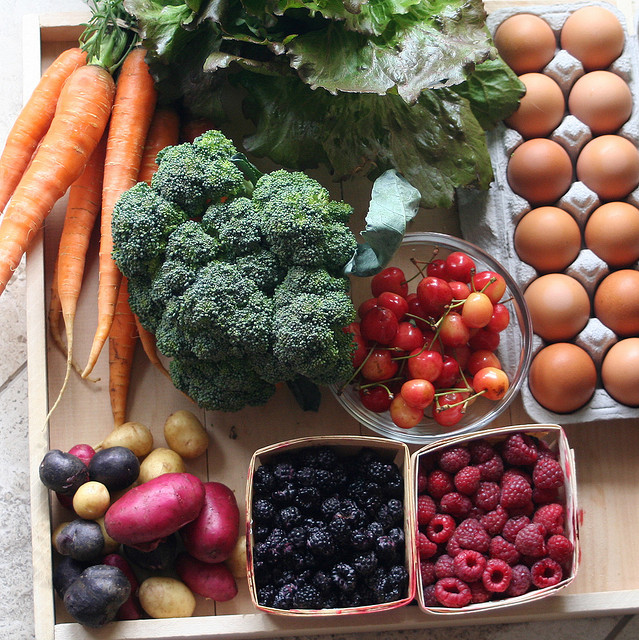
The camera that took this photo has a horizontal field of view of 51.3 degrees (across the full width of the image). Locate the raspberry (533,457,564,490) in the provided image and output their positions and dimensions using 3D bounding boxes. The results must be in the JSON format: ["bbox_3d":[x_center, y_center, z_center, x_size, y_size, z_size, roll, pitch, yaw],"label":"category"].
[{"bbox_3d":[0.433,0.294,1.296,0.063,0.060,0.055,0,74,5],"label":"raspberry"}]

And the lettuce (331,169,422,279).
[{"bbox_3d":[0.125,-0.181,1.264,0.068,0.129,0.224,30,76,19],"label":"lettuce"}]

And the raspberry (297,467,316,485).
[{"bbox_3d":[-0.025,0.306,1.298,0.033,0.021,0.034,7,19,34],"label":"raspberry"}]

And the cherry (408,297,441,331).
[{"bbox_3d":[0.209,-0.012,1.393,0.078,0.077,0.069,0,29,5],"label":"cherry"}]

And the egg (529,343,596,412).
[{"bbox_3d":[0.493,0.115,1.355,0.162,0.142,0.144,0,91,5],"label":"egg"}]

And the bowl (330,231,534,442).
[{"bbox_3d":[0.253,0.013,1.366,0.389,0.413,0.428,11,58,16],"label":"bowl"}]

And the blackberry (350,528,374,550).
[{"bbox_3d":[0.091,0.406,1.232,0.037,0.015,0.036,0,58,0],"label":"blackberry"}]

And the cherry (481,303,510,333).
[{"bbox_3d":[0.366,-0.002,1.361,0.067,0.059,0.060,-3,96,4],"label":"cherry"}]

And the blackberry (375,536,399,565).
[{"bbox_3d":[0.125,0.433,1.251,0.048,0.056,0.033,-17,37,2],"label":"blackberry"}]

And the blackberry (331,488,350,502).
[{"bbox_3d":[0.043,0.348,1.310,0.028,0.017,0.010,-9,49,-1],"label":"blackberry"}]

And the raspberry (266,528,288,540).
[{"bbox_3d":[-0.079,0.408,1.264,0.029,0.031,0.012,-6,91,-7],"label":"raspberry"}]

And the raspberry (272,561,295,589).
[{"bbox_3d":[-0.068,0.480,1.255,0.059,0.025,0.046,-6,77,22],"label":"raspberry"}]

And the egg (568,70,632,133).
[{"bbox_3d":[0.605,-0.476,1.438,0.127,0.097,0.134,7,56,13],"label":"egg"}]

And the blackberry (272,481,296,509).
[{"bbox_3d":[-0.066,0.338,1.289,0.048,0.022,0.047,1,85,4],"label":"blackberry"}]

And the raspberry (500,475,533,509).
[{"bbox_3d":[0.381,0.337,1.292,0.061,0.064,0.048,1,80,5],"label":"raspberry"}]

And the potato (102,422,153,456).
[{"bbox_3d":[-0.390,0.246,1.389,0.101,0.058,0.063,-9,24,-3],"label":"potato"}]

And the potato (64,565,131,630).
[{"bbox_3d":[-0.415,0.514,1.240,0.137,0.077,0.108,-4,58,11],"label":"potato"}]

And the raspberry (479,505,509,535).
[{"bbox_3d":[0.342,0.392,1.297,0.049,0.031,0.058,27,95,10],"label":"raspberry"}]

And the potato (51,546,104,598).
[{"bbox_3d":[-0.497,0.499,1.365,0.105,0.061,0.096,-4,102,-11],"label":"potato"}]

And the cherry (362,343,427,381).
[{"bbox_3d":[0.150,0.083,1.345,0.046,0.083,0.032,22,39,-19],"label":"cherry"}]

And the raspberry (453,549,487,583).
[{"bbox_3d":[0.288,0.458,1.235,0.069,0.026,0.054,-2,61,3],"label":"raspberry"}]

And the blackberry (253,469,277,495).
[{"bbox_3d":[-0.108,0.317,1.299,0.046,0.047,0.021,3,46,6],"label":"blackberry"}]

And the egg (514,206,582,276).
[{"bbox_3d":[0.485,-0.171,1.430,0.154,0.145,0.142,0,85,28],"label":"egg"}]

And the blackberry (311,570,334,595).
[{"bbox_3d":[0.006,0.489,1.240,0.039,0.039,0.026,-1,25,26],"label":"blackberry"}]

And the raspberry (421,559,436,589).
[{"bbox_3d":[0.207,0.489,1.279,0.041,0.025,0.041,6,95,6],"label":"raspberry"}]

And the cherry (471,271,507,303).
[{"bbox_3d":[0.325,-0.066,1.357,0.073,0.068,0.066,1,85,-9],"label":"cherry"}]

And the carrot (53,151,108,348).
[{"bbox_3d":[-0.516,-0.148,1.443,0.078,0.071,0.440,11,78,7],"label":"carrot"}]

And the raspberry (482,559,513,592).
[{"bbox_3d":[0.331,0.479,1.241,0.068,0.028,0.054,4,75,9],"label":"raspberry"}]

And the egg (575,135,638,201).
[{"bbox_3d":[0.575,-0.323,1.440,0.155,0.136,0.138,-1,98,9],"label":"egg"}]

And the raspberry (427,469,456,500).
[{"bbox_3d":[0.237,0.332,1.326,0.060,0.060,0.053,0,81,-4],"label":"raspberry"}]

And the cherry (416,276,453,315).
[{"bbox_3d":[0.229,-0.047,1.336,0.083,0.078,0.083,-8,91,19],"label":"cherry"}]

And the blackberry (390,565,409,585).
[{"bbox_3d":[0.150,0.476,1.245,0.031,0.028,0.033,-9,32,-27],"label":"blackberry"}]

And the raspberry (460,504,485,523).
[{"bbox_3d":[0.309,0.386,1.323,0.029,0.011,0.032,23,89,8],"label":"raspberry"}]

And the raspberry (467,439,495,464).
[{"bbox_3d":[0.321,0.264,1.336,0.055,0.053,0.037,6,66,3],"label":"raspberry"}]

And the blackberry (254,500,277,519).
[{"bbox_3d":[-0.101,0.364,1.274,0.042,0.029,0.028,-1,68,3],"label":"blackberry"}]

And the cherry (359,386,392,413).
[{"bbox_3d":[0.118,0.166,1.417,0.071,0.051,0.054,6,26,-29],"label":"cherry"}]

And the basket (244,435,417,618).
[{"bbox_3d":[0.021,0.367,1.289,0.420,0.115,0.325,-3,80,-3],"label":"basket"}]

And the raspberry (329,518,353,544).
[{"bbox_3d":[0.040,0.392,1.240,0.040,0.025,0.044,-27,94,20],"label":"raspberry"}]

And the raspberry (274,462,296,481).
[{"bbox_3d":[-0.067,0.298,1.306,0.035,0.014,0.030,36,53,21],"label":"raspberry"}]

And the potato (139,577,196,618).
[{"bbox_3d":[-0.297,0.546,1.345,0.111,0.070,0.051,20,82,10],"label":"potato"}]

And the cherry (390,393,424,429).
[{"bbox_3d":[0.174,0.191,1.397,0.081,0.064,0.068,5,20,-16],"label":"cherry"}]

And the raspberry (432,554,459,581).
[{"bbox_3d":[0.240,0.473,1.269,0.043,0.045,0.035,-7,43,12],"label":"raspberry"}]

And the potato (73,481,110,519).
[{"bbox_3d":[-0.444,0.352,1.296,0.081,0.070,0.073,3,94,-18],"label":"potato"}]

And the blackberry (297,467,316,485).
[{"bbox_3d":[-0.025,0.306,1.297,0.031,0.032,0.023,2,75,-9],"label":"blackberry"}]

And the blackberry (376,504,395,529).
[{"bbox_3d":[0.131,0.387,1.313,0.028,0.019,0.043,-33,74,17],"label":"blackberry"}]

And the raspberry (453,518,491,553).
[{"bbox_3d":[0.292,0.414,1.270,0.069,0.025,0.058,15,96,15],"label":"raspberry"}]

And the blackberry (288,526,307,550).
[{"bbox_3d":[-0.039,0.408,1.249,0.044,0.038,0.038,2,65,-5],"label":"blackberry"}]

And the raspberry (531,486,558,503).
[{"bbox_3d":[0.445,0.347,1.323,0.046,0.031,0.017,-13,56,13],"label":"raspberry"}]

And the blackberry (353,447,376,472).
[{"bbox_3d":[0.089,0.281,1.332,0.045,0.045,0.018,15,38,10],"label":"blackberry"}]
